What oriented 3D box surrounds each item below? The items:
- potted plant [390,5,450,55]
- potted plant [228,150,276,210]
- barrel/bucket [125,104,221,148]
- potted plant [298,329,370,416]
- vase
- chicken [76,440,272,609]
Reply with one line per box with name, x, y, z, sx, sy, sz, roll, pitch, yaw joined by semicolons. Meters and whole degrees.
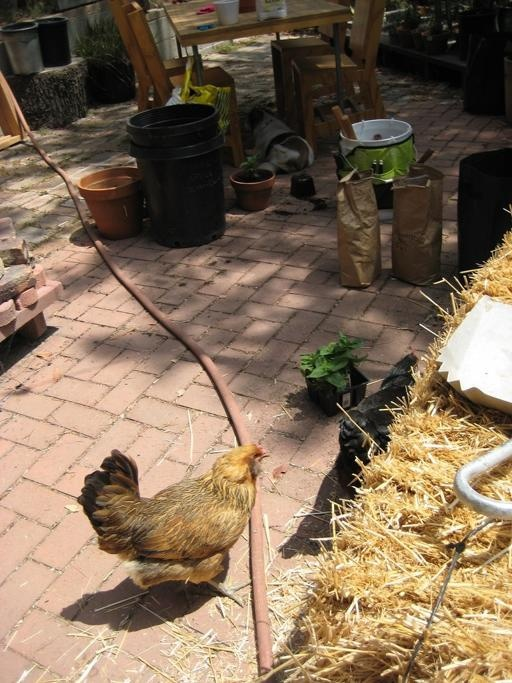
potted plant;2.598;-5.001;9.256;0.882;0.746;1.791;-1;26;13
potted plant;-0.023;-1.641;5.865;0.528;0.522;0.509;0;35;1
barrel/bucket;-0.650;-1.890;5.027;0.732;0.246;0.722;-9;34;6
potted plant;0.447;0.194;3.233;0.303;0.310;0.319;-29;60;-12
vase;-1.293;-1.334;5.686;0.742;0.557;0.712;-7;38;5
chicken;-0.289;0.732;2.348;0.792;0.530;0.415;-6;5;-3
